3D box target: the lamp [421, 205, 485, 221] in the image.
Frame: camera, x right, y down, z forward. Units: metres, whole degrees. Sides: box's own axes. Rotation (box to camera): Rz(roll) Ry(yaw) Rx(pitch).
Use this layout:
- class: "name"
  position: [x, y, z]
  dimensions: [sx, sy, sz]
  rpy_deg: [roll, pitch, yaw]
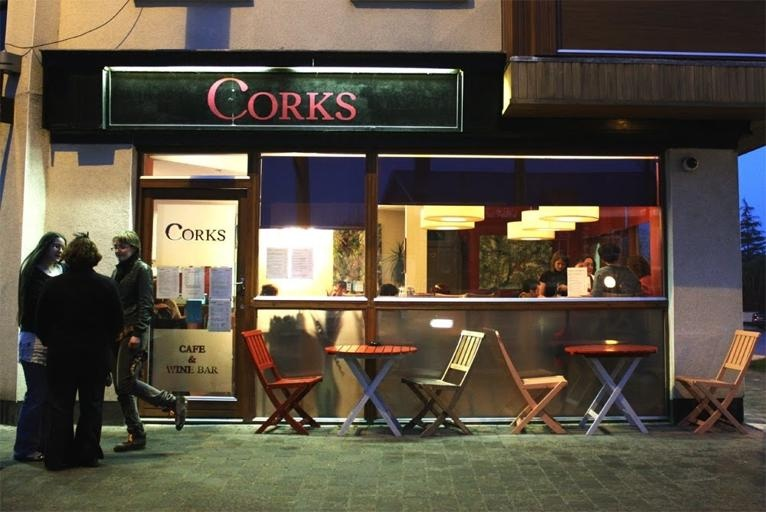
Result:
- class: "lamp"
  position: [1.043, -0.611, 14.657]
  dimensions: [0.951, 0.221, 0.062]
  rpy_deg: [-1, 14, -4]

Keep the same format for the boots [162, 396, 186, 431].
- class: "boots"
  position: [-2.843, 2.137, 13.658]
  dimensions: [0.231, 0.509, 0.166]
  rpy_deg: [-9, 14, -39]

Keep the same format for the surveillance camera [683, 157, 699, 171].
- class: "surveillance camera"
  position: [4.560, -1.345, 14.570]
  dimensions: [0.254, 0.194, 0.096]
  rpy_deg: [-6, 15, -22]

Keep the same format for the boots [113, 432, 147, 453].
- class: "boots"
  position: [-3.369, 2.536, 13.258]
  dimensions: [0.493, 0.297, 0.183]
  rpy_deg: [3, -7, -6]

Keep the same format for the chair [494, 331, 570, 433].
- class: "chair"
  position: [2.116, 1.760, 14.187]
  dimensions: [1.060, 1.482, 0.835]
  rpy_deg: [2, 14, 8]

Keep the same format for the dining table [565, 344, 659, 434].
- class: "dining table"
  position: [3.290, 1.938, 14.392]
  dimensions: [1.229, 1.169, 1.248]
  rpy_deg: [-2, -1, 1]

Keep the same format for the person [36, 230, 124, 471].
- class: "person"
  position: [-3.903, 1.228, 12.758]
  dimensions: [1.054, 2.860, 0.871]
  rpy_deg: [-4, 14, -15]

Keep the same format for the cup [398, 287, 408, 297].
- class: "cup"
  position: [0.304, 0.543, 14.553]
  dimensions: [0.128, 0.246, 0.132]
  rpy_deg: [2, 4, 0]

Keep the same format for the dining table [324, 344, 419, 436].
- class: "dining table"
  position: [-0.184, 1.930, 14.239]
  dimensions: [1.164, 1.191, 1.276]
  rpy_deg: [0, -8, 0]

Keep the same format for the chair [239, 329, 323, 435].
- class: "chair"
  position: [-1.442, 1.798, 14.110]
  dimensions: [1.083, 1.436, 0.971]
  rpy_deg: [9, 16, 30]
